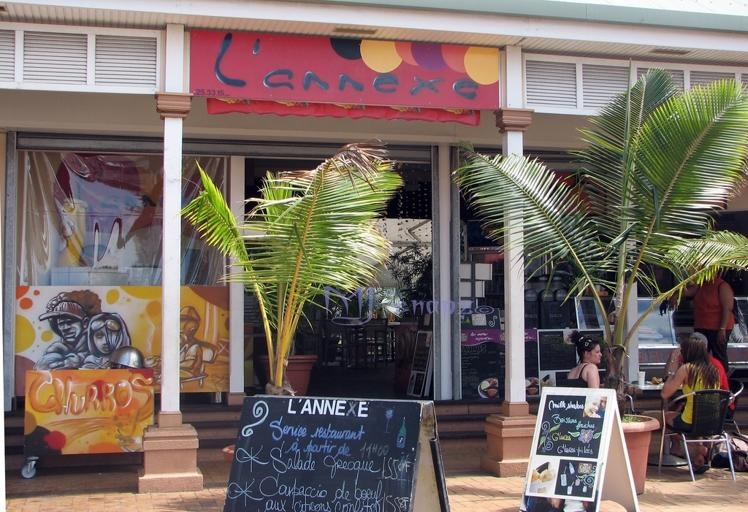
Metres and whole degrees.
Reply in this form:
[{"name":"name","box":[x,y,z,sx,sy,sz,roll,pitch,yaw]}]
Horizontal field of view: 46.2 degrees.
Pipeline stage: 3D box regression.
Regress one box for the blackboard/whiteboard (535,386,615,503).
[{"name":"blackboard/whiteboard","box":[1.863,1.795,8.365,0.702,1.002,0.376,-2,-6,30]}]

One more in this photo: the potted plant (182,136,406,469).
[{"name":"potted plant","box":[-0.545,-0.065,9.689,2.982,2.813,2.621,0,1,-17]}]

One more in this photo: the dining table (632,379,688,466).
[{"name":"dining table","box":[3.639,2.149,11.238,1.041,0.986,1.019,1,-2,7]}]

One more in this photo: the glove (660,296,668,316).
[{"name":"glove","box":[4.004,0.715,12.116,0.153,0.203,0.073,5,-3,-5]}]

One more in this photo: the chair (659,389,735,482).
[{"name":"chair","box":[3.730,2.019,10.122,0.800,0.984,0.808,0,-2,7]}]

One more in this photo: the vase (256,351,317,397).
[{"name":"vase","box":[-1.038,1.640,11.601,0.549,0.399,0.535,3,-19,-34]}]

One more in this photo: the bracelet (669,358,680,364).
[{"name":"bracelet","box":[3.607,1.268,10.508,0.067,0.061,0.057,0,1,-26]}]
